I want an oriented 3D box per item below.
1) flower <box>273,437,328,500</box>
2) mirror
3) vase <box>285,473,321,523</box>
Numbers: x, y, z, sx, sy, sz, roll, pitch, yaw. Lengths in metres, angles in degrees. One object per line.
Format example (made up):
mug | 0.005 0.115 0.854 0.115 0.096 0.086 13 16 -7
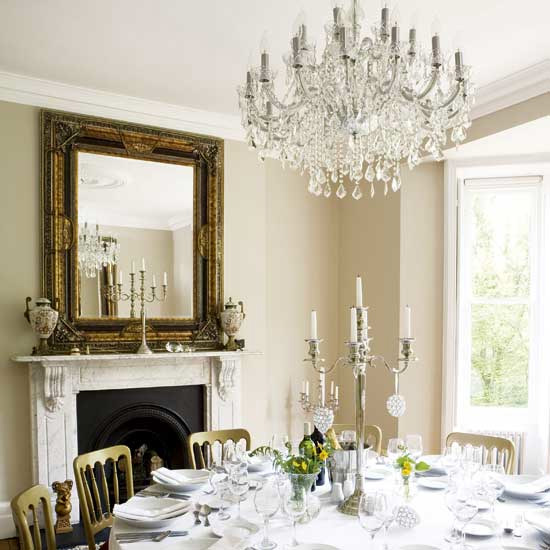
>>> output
flower | 0.102 0.818 2.652 0.137 0.221 0.149 1 -2 38
mirror | -1.056 -0.326 4.873 1.371 2.103 0.172 4 -31 -21
vase | 0.097 0.873 2.497 0.126 0.221 0.137 -5 0 25
